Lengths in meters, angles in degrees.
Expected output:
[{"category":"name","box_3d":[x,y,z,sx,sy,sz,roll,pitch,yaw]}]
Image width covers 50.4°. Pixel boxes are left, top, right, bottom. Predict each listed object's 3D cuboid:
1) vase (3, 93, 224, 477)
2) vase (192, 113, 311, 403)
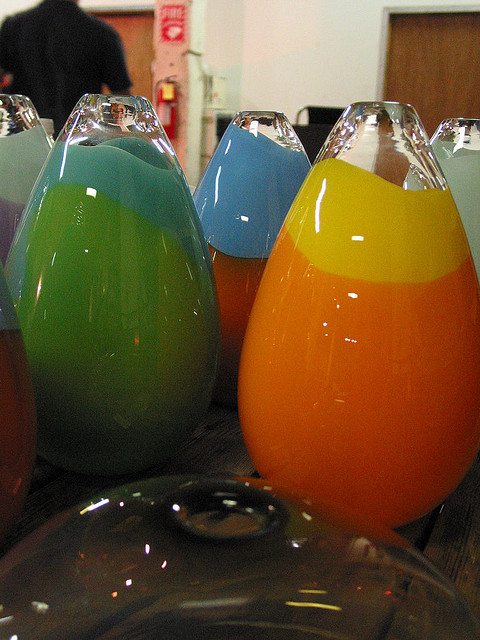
[{"category":"vase","box_3d":[-0.089,-0.019,0.358,0.153,0.270,0.083,3,13,-4]},{"category":"vase","box_3d":[0.016,-0.095,0.523,0.140,0.220,0.150,8,30,6]}]
